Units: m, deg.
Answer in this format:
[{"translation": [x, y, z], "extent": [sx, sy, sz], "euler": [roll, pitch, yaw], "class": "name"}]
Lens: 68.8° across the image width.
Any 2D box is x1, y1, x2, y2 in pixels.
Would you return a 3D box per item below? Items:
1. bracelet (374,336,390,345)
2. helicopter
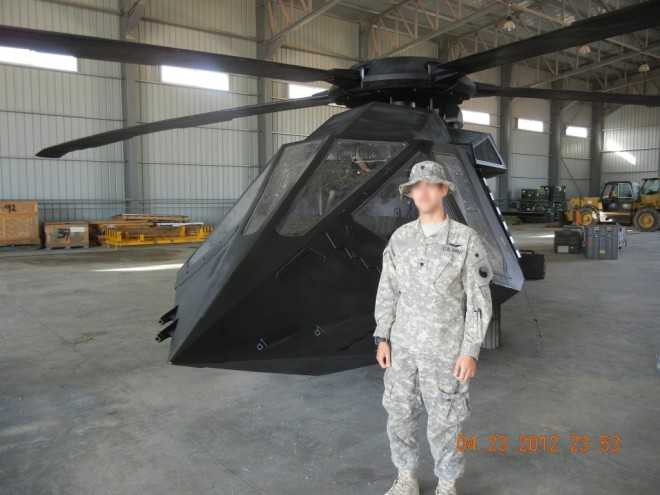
[{"translation": [0.350, 0.638, 3.319], "extent": [0.079, 0.054, 0.082], "euler": [3, 2, 9], "class": "bracelet"}, {"translation": [0.240, -0.447, 4.392], "extent": [3.529, 2.900, 3.271], "euler": [-4, 8, -22], "class": "helicopter"}]
